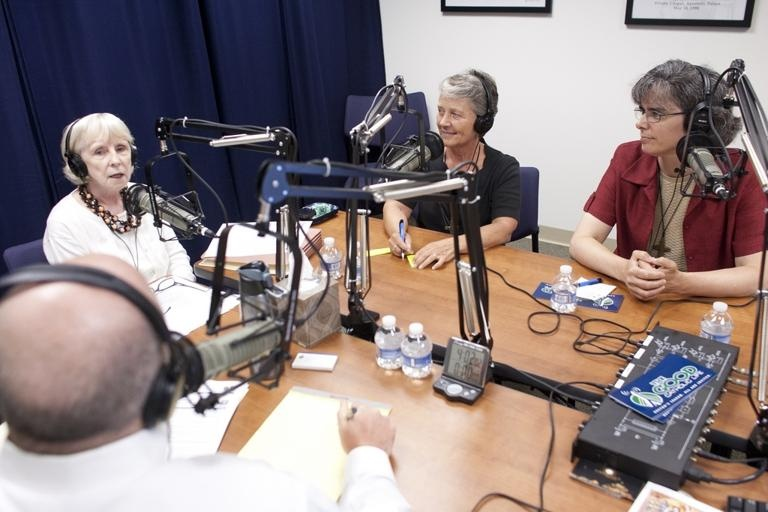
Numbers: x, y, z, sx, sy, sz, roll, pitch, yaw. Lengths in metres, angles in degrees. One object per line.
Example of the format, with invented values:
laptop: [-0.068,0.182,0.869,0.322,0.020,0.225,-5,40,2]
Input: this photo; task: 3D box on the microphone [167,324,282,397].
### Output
microphone: [-0.358,0.216,1.271,0.110,0.105,0.295,2,16,35]

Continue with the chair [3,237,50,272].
chair: [-1.600,-0.004,2.317,0.136,0.134,0.131,-12,30,-23]

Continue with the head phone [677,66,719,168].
head phone: [1.321,-0.535,2.159,0.158,0.472,0.488,3,9,29]

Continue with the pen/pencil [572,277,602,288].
pen/pencil: [0.928,0.124,2.365,0.097,0.026,0.023,-10,10,-14]

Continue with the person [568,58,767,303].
person: [1.295,-0.485,2.677,0.866,1.239,1.149,14,28,43]

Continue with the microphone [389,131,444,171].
microphone: [0.128,-0.438,2.147,0.124,0.142,0.335,9,27,37]

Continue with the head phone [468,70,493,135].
head phone: [0.527,-0.849,2.846,0.096,0.310,0.250,-11,25,-8]

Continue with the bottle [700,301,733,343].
bottle: [1.289,0.266,2.008,0.089,0.156,0.091,-3,25,1]

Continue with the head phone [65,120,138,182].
head phone: [-1.397,-0.527,2.539,0.288,0.276,0.312,14,25,39]

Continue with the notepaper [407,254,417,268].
notepaper: [0.141,0.027,2.617,0.043,0.006,0.127,-12,24,9]

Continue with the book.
book: [-0.654,-0.017,2.602,0.466,0.150,0.504,4,29,5]
